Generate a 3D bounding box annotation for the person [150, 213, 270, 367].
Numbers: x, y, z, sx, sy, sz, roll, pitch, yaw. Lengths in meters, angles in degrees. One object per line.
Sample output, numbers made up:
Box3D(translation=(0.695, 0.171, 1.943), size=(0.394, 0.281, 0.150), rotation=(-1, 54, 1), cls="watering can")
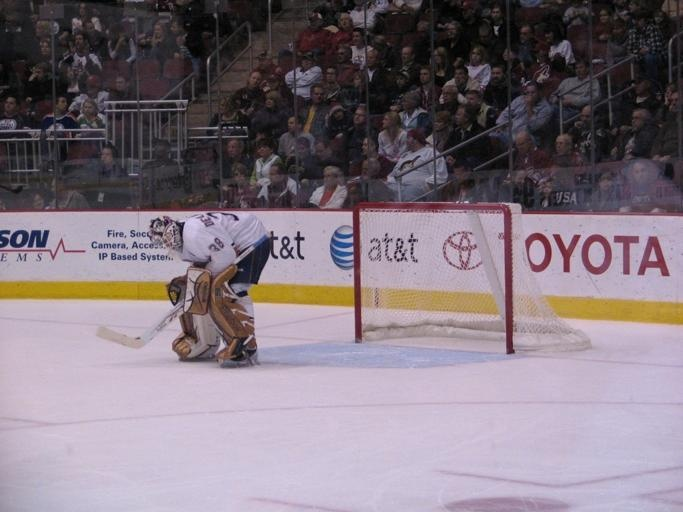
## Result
Box3D(translation=(-1.346, 0.248, 11.720), size=(0.992, 1.608, 0.899), rotation=(5, 13, 33), cls="person")
